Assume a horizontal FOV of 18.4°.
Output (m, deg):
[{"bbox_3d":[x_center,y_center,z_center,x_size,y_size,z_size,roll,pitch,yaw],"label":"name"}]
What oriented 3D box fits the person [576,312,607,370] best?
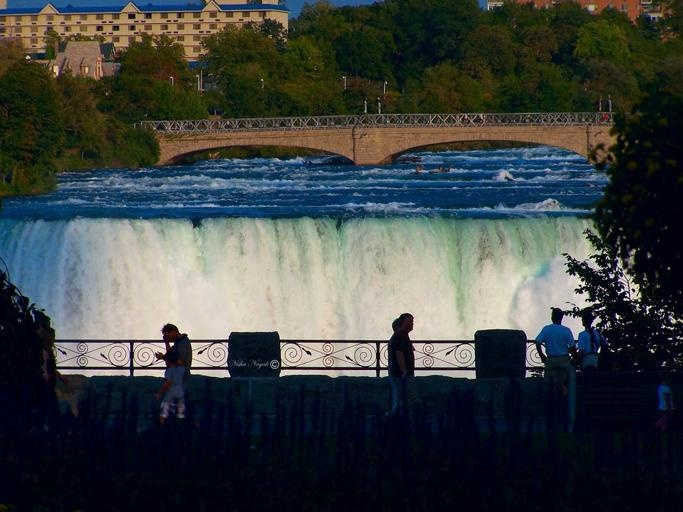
[{"bbox_3d":[12.231,4.013,102.697,1.299,2.877,0.896,-2,-5,7],"label":"person"}]
